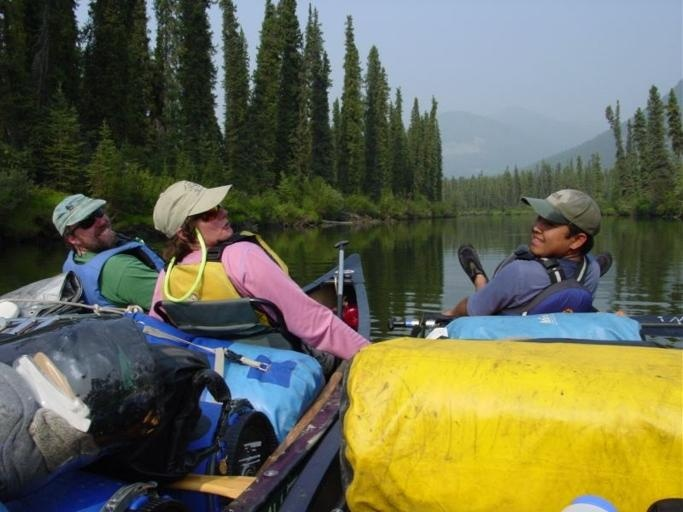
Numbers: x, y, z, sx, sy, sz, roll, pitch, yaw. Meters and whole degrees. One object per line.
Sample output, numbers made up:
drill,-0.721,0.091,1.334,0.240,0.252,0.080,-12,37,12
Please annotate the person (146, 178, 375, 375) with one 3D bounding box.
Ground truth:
person,-0.377,-0.056,3.500,1.060,0.631,0.819,3,11,30

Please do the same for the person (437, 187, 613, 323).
person,0.924,0.006,3.632,0.552,0.650,0.828,-9,18,-29

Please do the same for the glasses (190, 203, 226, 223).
glasses,-0.633,-0.212,3.409,0.091,0.029,0.090,-25,-29,28

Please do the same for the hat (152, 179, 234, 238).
hat,-0.709,-0.284,3.417,0.260,0.135,0.186,-32,6,26

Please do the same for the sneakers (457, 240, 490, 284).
sneakers,0.852,0.028,4.608,0.115,0.361,0.143,-23,-42,8

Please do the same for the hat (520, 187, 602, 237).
hat,1.084,-0.231,3.463,0.325,0.166,0.215,17,13,-8
